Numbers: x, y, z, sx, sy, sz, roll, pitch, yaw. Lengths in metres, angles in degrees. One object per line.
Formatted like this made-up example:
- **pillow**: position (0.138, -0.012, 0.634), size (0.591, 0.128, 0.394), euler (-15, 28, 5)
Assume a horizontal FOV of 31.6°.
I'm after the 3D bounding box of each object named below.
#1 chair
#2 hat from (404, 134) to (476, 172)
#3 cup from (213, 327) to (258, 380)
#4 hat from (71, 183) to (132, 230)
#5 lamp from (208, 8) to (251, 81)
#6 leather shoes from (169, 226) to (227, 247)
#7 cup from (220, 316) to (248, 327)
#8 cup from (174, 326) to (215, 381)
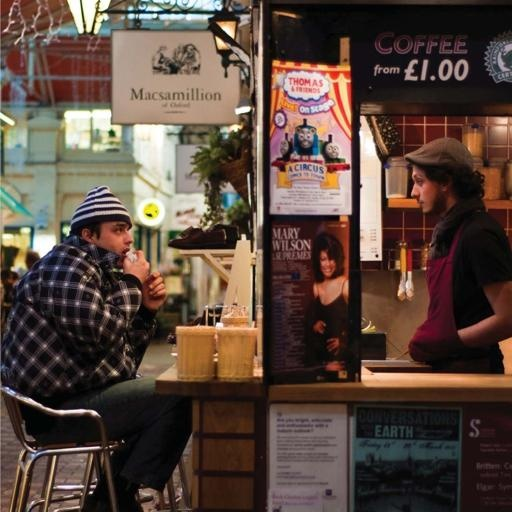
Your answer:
- **chair**: position (-0.728, 0.937, 4.407), size (0.667, 0.834, 0.728), euler (-4, -3, -11)
- **hat**: position (0.932, -0.491, 4.499), size (0.249, 0.122, 0.183), euler (6, -1, 0)
- **cup**: position (-0.091, 0.416, 3.895), size (0.193, 0.217, 0.203), euler (0, -4, 0)
- **hat**: position (-0.802, -0.226, 4.651), size (0.240, 0.194, 0.249), euler (-10, -9, 30)
- **lamp**: position (-0.221, -1.733, 7.239), size (0.326, 0.583, 0.623), euler (-1, -1, -1)
- **leather shoes**: position (-0.387, -0.127, 6.373), size (0.447, 0.186, 0.155), euler (2, -4, -4)
- **cup**: position (-0.095, 0.287, 3.998), size (0.114, 0.044, 0.056), euler (-1, -1, -4)
- **cup**: position (-0.270, 0.419, 3.943), size (0.178, 0.232, 0.128), euler (-1, -2, 4)
